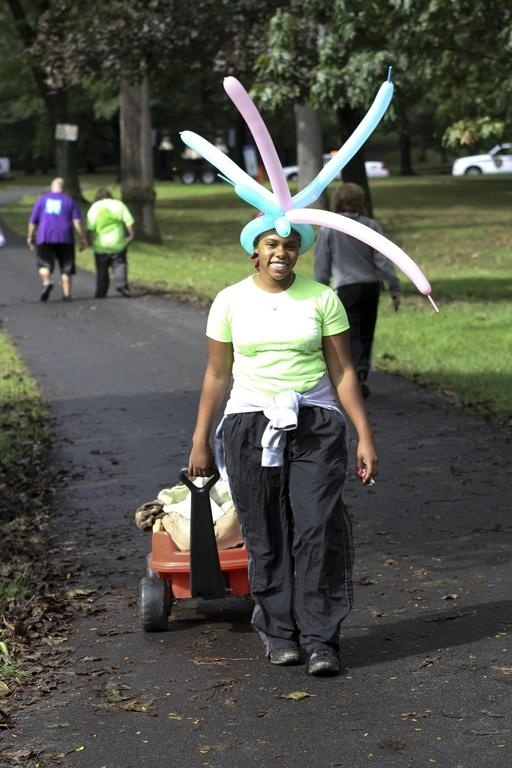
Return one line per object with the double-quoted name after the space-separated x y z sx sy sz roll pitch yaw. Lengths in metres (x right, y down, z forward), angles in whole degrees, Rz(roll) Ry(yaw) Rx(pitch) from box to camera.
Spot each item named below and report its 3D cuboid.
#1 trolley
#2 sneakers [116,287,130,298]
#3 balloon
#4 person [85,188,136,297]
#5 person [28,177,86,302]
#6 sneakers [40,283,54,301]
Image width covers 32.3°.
-0.243 0.649 3.543 0.484 0.484 0.726 -1 8 -5 "trolley"
-1.624 -1.119 10.749 0.085 0.089 0.204 17 -8 3 "sneakers"
0.134 -0.638 2.984 0.738 0.758 0.851 -5 3 -3 "balloon"
-1.752 -1.678 10.621 0.547 0.894 0.520 -6 3 -8 "person"
-2.165 -1.435 9.533 0.505 0.899 0.874 -5 3 8 "person"
-2.230 -0.975 9.332 0.085 0.181 0.088 25 -15 -40 "sneakers"
